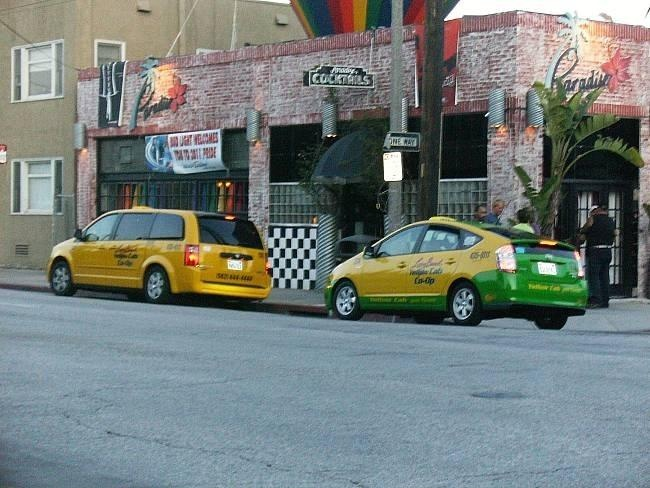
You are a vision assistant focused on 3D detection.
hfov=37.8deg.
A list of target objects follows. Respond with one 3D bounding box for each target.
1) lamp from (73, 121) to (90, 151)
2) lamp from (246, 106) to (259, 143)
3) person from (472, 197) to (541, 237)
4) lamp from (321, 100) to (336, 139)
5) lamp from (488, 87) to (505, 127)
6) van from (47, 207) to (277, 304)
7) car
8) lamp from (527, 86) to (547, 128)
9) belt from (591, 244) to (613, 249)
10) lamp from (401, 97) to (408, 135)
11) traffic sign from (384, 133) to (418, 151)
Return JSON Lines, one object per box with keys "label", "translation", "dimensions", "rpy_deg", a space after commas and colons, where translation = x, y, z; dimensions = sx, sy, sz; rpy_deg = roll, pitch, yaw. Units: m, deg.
{"label": "lamp", "translation": [-7.547, -3.285, 29.088], "dimensions": [0.364, 0.846, 0.251], "rpy_deg": [1, 0, 28]}
{"label": "lamp", "translation": [-1.930, -3.083, 24.823], "dimensions": [0.388, 0.867, 0.297], "rpy_deg": [1, 0, 33]}
{"label": "person", "translation": [3.718, -0.588, 19.577], "dimensions": [1.412, 0.724, 0.835], "rpy_deg": [-3, 8, -26]}
{"label": "lamp", "translation": [0.076, -3.083, 23.376], "dimensions": [0.343, 0.920, 0.482], "rpy_deg": [1, 0, -3]}
{"label": "lamp", "translation": [3.717, -2.966, 20.693], "dimensions": [0.367, 0.840, 0.197], "rpy_deg": [1, 0, 21]}
{"label": "van", "translation": [-3.491, 0.211, 19.455], "dimensions": [3.786, 1.464, 2.009], "rpy_deg": [6, 2, 42]}
{"label": "car", "translation": [2.062, 0.493, 15.861], "dimensions": [1.849, 1.430, 3.698], "rpy_deg": [4, -1, -40]}
{"label": "lamp", "translation": [4.520, -2.948, 20.492], "dimensions": [0.241, 0.823, 0.440], "rpy_deg": [1, 0, -34]}
{"label": "belt", "translation": [5.669, 0.056, 19.382], "dimensions": [0.454, 0.067, 0.209], "rpy_deg": [1, 0, -36]}
{"label": "lamp", "translation": [1.854, -3.033, 22.238], "dimensions": [0.095, 0.805, 0.391], "rpy_deg": [1, 0, 11]}
{"label": "traffic sign", "translation": [1.470, -1.993, 18.395], "dimensions": [0.686, 0.361, 0.445], "rpy_deg": [1, 0, 1]}
